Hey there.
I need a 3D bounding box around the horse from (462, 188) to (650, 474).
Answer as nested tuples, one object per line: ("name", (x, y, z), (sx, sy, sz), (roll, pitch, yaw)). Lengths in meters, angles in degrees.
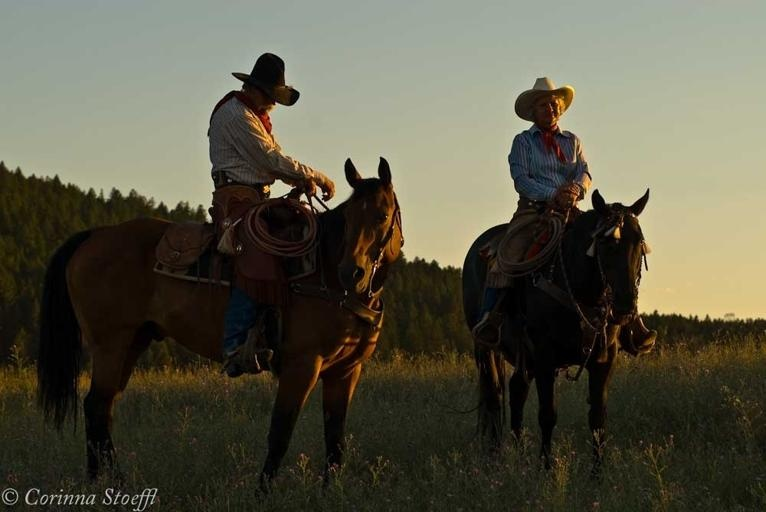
("horse", (2.499, 1.065, 14.855), (2.875, 4.195, 1.091), (9, 13, 43))
